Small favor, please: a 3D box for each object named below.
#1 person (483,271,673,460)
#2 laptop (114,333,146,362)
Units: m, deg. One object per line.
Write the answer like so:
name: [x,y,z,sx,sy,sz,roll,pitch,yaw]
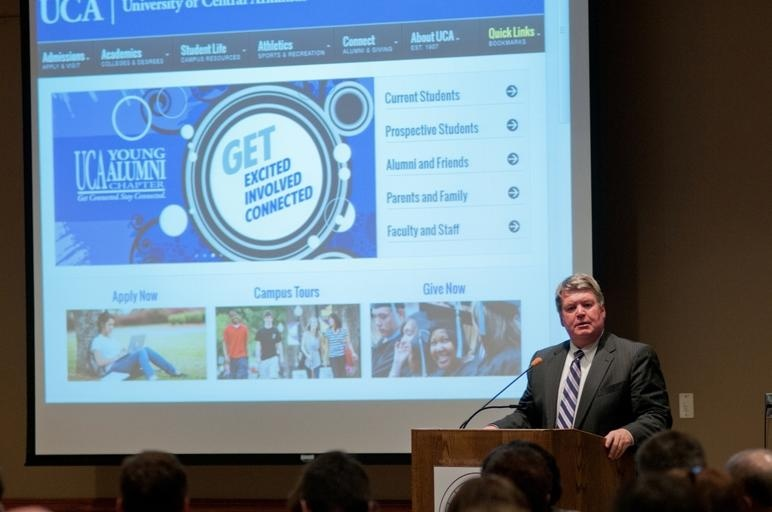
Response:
person: [1.189,0.590,5.911,0.922,0.979,0.373,-5,-7,29]
laptop: [-1.758,0.614,6.944,0.133,0.112,0.143,13,-13,-43]
